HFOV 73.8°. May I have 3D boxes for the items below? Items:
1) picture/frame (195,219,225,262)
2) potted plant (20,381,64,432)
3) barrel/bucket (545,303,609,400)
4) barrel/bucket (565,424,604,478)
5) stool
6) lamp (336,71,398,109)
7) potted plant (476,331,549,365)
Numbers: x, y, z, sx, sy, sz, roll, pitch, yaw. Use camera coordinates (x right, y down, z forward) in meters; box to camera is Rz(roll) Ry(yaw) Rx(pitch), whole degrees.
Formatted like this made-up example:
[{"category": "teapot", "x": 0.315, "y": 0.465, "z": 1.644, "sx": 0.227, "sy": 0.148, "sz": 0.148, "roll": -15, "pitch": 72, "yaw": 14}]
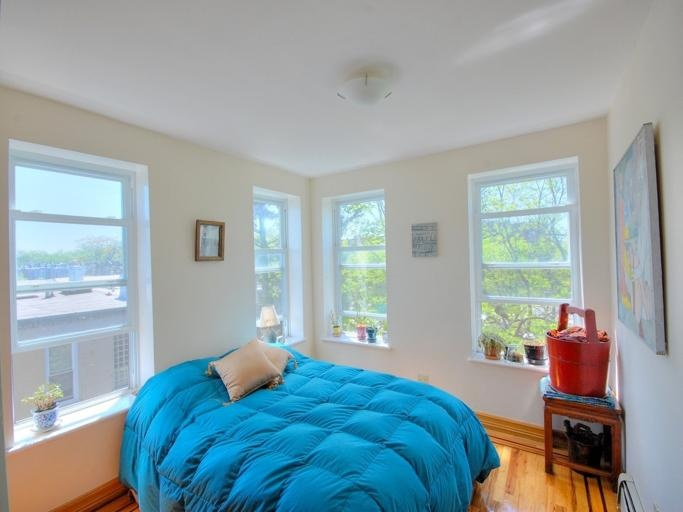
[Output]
[{"category": "picture/frame", "x": -1.201, "y": -0.135, "z": 4.120, "sx": 0.051, "sy": 0.490, "sz": 0.364, "roll": -1, "pitch": -2, "yaw": 35}, {"category": "potted plant", "x": -2.139, "y": 1.140, "z": 3.267, "sx": 0.205, "sy": 0.253, "sz": 0.188, "roll": -24, "pitch": -20, "yaw": 23}, {"category": "barrel/bucket", "x": 1.862, "y": 0.751, "z": 3.614, "sx": 0.390, "sy": 0.698, "sz": 0.458, "roll": -3, "pitch": 5, "yaw": -8}, {"category": "barrel/bucket", "x": 1.890, "y": 1.503, "z": 3.566, "sx": 0.268, "sy": 0.348, "sz": 0.224, "roll": 3, "pitch": 4, "yaw": 24}, {"category": "stool", "x": 1.904, "y": 1.432, "z": 3.693, "sx": 0.622, "sy": 0.811, "sz": 0.511, "roll": -1, "pitch": -1, "yaw": 40}, {"category": "lamp", "x": 0.173, "y": -1.117, "z": 3.206, "sx": 0.406, "sy": 0.126, "sz": 0.411, "roll": -2, "pitch": -6, "yaw": -24}, {"category": "potted plant", "x": 1.550, "y": 0.844, "z": 4.124, "sx": 0.427, "sy": 0.222, "sz": 0.238, "roll": -3, "pitch": 0, "yaw": 20}]
